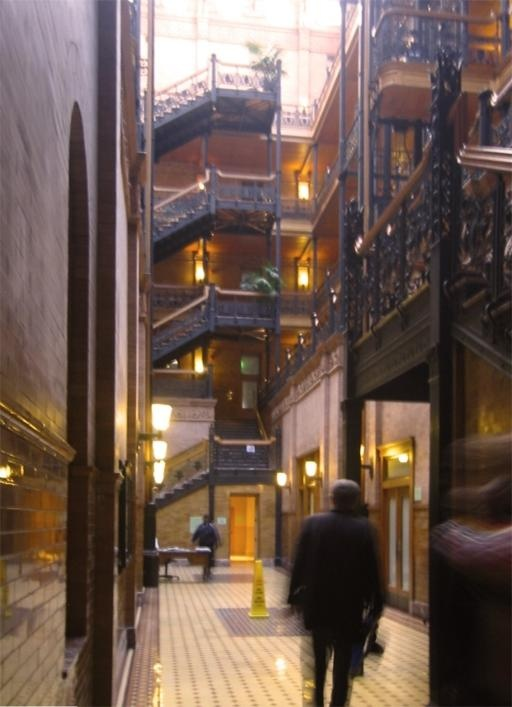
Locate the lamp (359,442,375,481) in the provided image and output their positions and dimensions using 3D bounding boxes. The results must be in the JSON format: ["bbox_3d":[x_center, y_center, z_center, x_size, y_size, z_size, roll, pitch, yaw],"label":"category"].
[{"bbox_3d":[1.796,1.709,14.038,0.173,0.634,0.942,-1,-11,4],"label":"lamp"}]

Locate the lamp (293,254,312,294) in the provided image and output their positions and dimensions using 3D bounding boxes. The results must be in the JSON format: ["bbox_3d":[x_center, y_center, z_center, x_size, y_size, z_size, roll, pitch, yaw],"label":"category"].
[{"bbox_3d":[1.825,-3.055,33.044,0.680,2.138,0.827,-1,1,-5],"label":"lamp"}]
